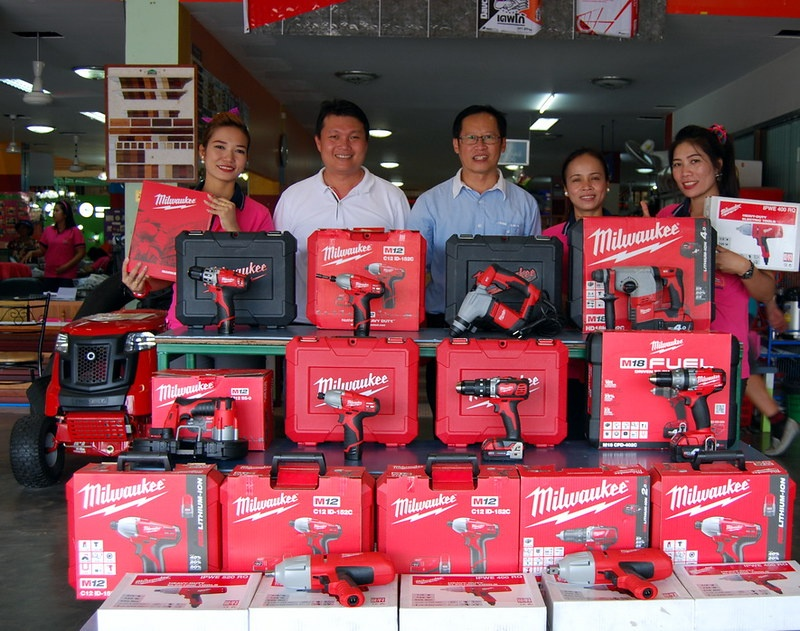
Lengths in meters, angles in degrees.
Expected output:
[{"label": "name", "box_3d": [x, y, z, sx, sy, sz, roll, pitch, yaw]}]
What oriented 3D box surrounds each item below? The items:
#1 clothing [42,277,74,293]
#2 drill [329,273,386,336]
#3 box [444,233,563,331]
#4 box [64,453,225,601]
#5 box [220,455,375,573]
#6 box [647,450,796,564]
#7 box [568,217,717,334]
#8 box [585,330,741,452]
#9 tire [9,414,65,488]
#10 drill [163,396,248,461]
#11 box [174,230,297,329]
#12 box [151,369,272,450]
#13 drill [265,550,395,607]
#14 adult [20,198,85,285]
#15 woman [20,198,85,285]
[{"label": "clothing", "box_3d": [-3.435, -0.306, 7.437, 0.298, 0.173, 0.061, 2, -6, -8]}, {"label": "drill", "box_3d": [-0.160, -0.042, 2.899, 0.215, 0.244, 0.133, -2, 5, -2]}, {"label": "box", "box_3d": [0.457, -0.146, 3.009, 0.502, 0.379, 0.167, 2, 7, 25]}, {"label": "box", "box_3d": [-0.791, 0.687, 2.325, 0.589, 0.419, 0.176, 0, 3, 2]}, {"label": "box", "box_3d": [-0.320, 0.650, 2.320, 0.435, 0.278, 0.128, 0, 5, 1]}, {"label": "box", "box_3d": [1.025, 0.633, 2.356, 0.471, 0.337, 0.143, 0, 5, -4]}, {"label": "box", "box_3d": [0.942, -0.157, 2.806, 0.535, 0.366, 0.160, 0, -6, 2]}, {"label": "box", "box_3d": [0.929, 0.267, 2.594, 0.521, 0.332, 0.153, 0, 1, 1]}, {"label": "tire", "box_3d": [-2.140, 0.811, 4.373, 0.266, 0.458, 0.302, -3, 5, -17]}, {"label": "drill", "box_3d": [-0.695, 0.402, 2.607, 0.347, 0.213, 0.190, 0, -5, 15]}, {"label": "box", "box_3d": [-0.705, -0.153, 2.989, 0.174, 0.400, 0.568, 3, 4, 44]}, {"label": "box", "box_3d": [-0.678, 0.347, 2.713, 0.424, 0.235, 0.211, 0, -2, 0]}, {"label": "drill", "box_3d": [-0.195, 0.802, 2.227, 0.257, 0.057, 0.163, 0, 26, -9]}, {"label": "adult", "box_3d": [-3.685, -0.772, 8.084, 0.531, 0.921, 0.369, 2, 6, 40]}, {"label": "woman", "box_3d": [-3.685, -0.772, 8.084, 0.531, 0.921, 0.369, 2, 6, 40]}]
